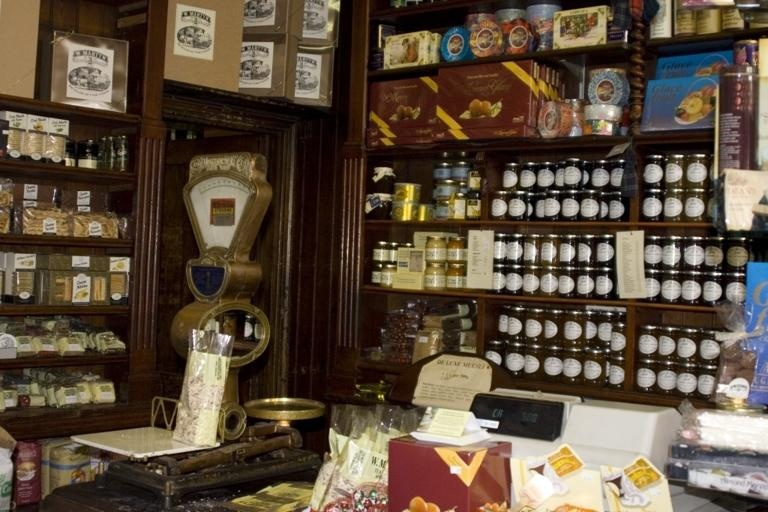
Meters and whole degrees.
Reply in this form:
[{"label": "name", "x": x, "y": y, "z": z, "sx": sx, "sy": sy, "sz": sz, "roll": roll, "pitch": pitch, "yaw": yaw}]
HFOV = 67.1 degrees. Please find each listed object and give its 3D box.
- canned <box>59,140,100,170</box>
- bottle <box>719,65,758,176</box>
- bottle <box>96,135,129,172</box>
[{"label": "canned", "x": -1.889, "y": -0.632, "z": 3.654, "sx": 0.189, "sy": 0.194, "sz": 0.187, "roll": 2, "pitch": 4, "yaw": 13}, {"label": "bottle", "x": 0.978, "y": -0.381, "z": 1.600, "sx": 0.096, "sy": 0.308, "sz": 0.048, "roll": 2, "pitch": 0, "yaw": 30}, {"label": "bottle", "x": -1.740, "y": -0.648, "z": 3.689, "sx": 0.200, "sy": 0.226, "sz": 0.096, "roll": 2, "pitch": 0, "yaw": 5}]
